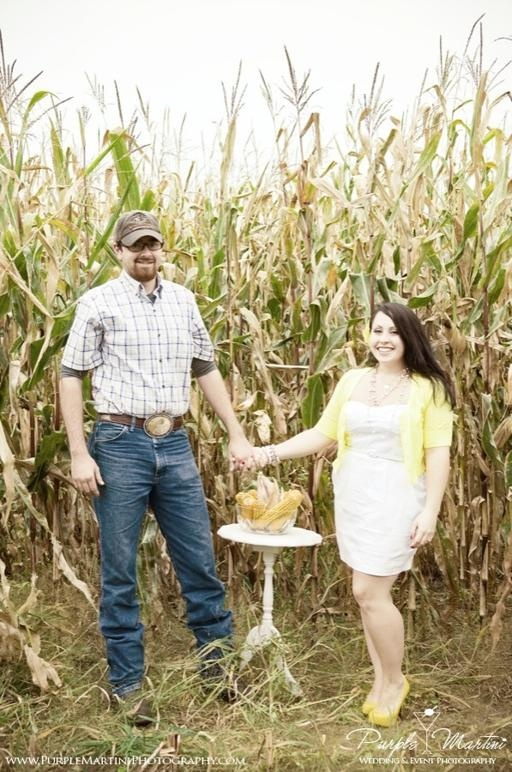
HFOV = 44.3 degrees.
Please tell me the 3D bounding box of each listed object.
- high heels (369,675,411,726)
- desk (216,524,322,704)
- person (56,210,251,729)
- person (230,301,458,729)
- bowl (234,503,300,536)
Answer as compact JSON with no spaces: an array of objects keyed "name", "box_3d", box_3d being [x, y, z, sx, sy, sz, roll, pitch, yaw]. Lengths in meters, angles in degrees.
[{"name":"high heels","box_3d":[0.496,1.143,2.302,0.082,0.091,0.227,-8,1,30]},{"name":"desk","box_3d":[0.036,0.862,2.529,0.389,0.659,0.414,4,7,39]},{"name":"person","box_3d":[-0.380,0.281,2.320,0.652,1.817,0.483,-2,3,-7]},{"name":"person","box_3d":[0.322,0.460,2.253,0.688,1.467,0.362,0,-2,7]},{"name":"bowl","box_3d":[0.038,0.514,2.461,0.148,0.120,0.207,0,-6,19]}]
